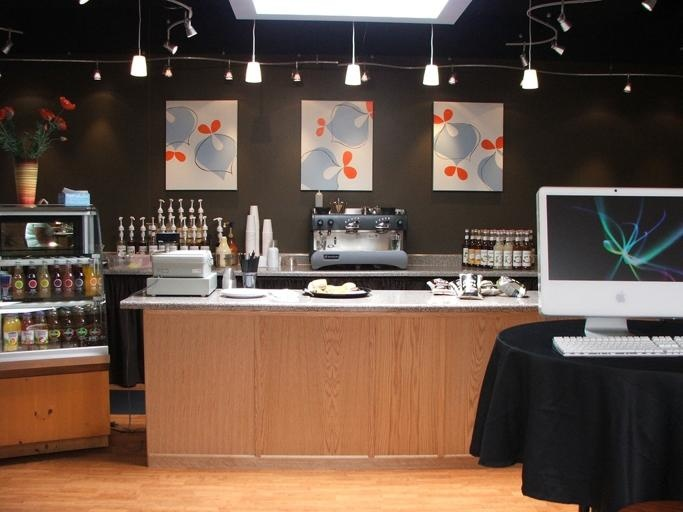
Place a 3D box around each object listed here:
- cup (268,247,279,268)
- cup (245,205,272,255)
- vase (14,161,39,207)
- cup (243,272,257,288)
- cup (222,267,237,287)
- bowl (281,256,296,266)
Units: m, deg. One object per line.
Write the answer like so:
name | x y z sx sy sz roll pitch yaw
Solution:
cup | -0.622 0.013 5.677 0.102 0.189 0.206 -1 1 -8
cup | -0.769 -0.243 5.790 0.260 0.482 0.288 -1 1 -8
vase | -2.265 -0.532 4.442 0.143 0.357 0.446 -1 1 -27
cup | -0.610 0.159 4.133 0.089 0.101 0.092 1 3 0
cup | -0.762 0.148 4.161 0.118 0.152 0.136 -1 5 -13
bowl | -0.499 0.052 5.889 0.133 0.078 0.075 0 1 7
